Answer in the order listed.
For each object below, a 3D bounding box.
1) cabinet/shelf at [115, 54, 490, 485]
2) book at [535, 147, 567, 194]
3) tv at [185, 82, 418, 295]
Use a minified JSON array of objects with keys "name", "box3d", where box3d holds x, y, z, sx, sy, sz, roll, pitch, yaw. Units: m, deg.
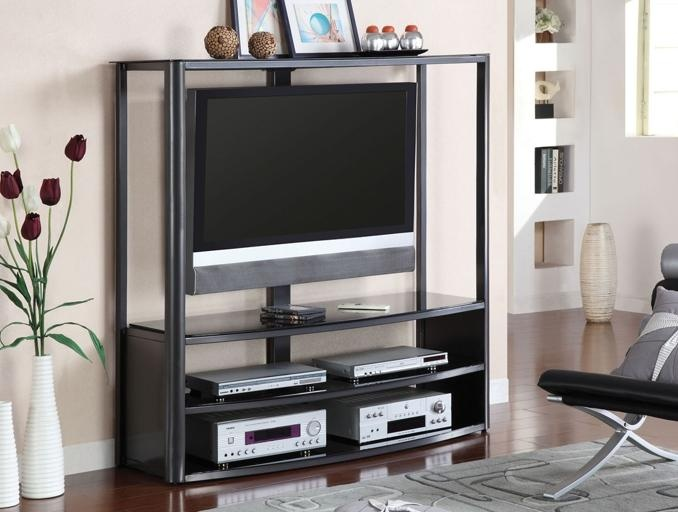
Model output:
[{"name":"cabinet/shelf","box3d":[-0.231,0.103,3.633,2.220,2.104,0.713,-4,6,-35]},{"name":"book","box3d":[2.135,-0.871,7.387,0.497,0.444,0.172,-4,7,-40]},{"name":"tv","box3d":[-0.169,-0.376,3.740,1.460,0.979,0.152,-9,13,-40]}]
